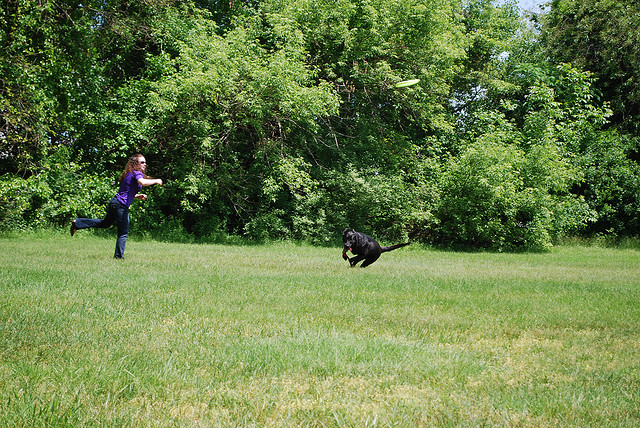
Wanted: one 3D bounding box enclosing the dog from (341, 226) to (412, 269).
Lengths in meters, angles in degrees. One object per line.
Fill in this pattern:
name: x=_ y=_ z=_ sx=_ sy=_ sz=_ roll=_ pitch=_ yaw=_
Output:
dog: x=1.947 y=1.329 z=25.983 sx=2.953 sy=1.270 sz=0.733 roll=12 pitch=6 yaw=-35
